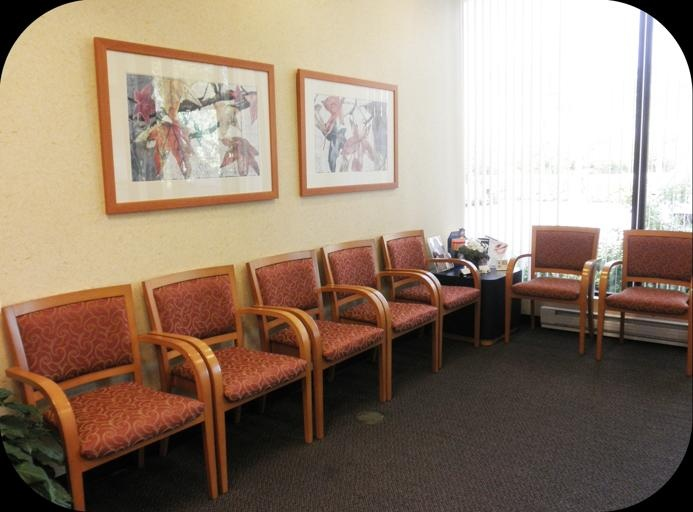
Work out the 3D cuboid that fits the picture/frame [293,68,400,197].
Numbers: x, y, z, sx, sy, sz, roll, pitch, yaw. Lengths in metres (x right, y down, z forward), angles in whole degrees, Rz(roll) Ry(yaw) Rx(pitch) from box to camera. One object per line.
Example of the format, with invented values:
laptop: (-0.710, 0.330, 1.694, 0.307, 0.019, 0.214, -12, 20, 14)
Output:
picture/frame: (-0.036, -1.090, 4.225, 0.045, 1.016, 1.216, 5, 7, 41)
